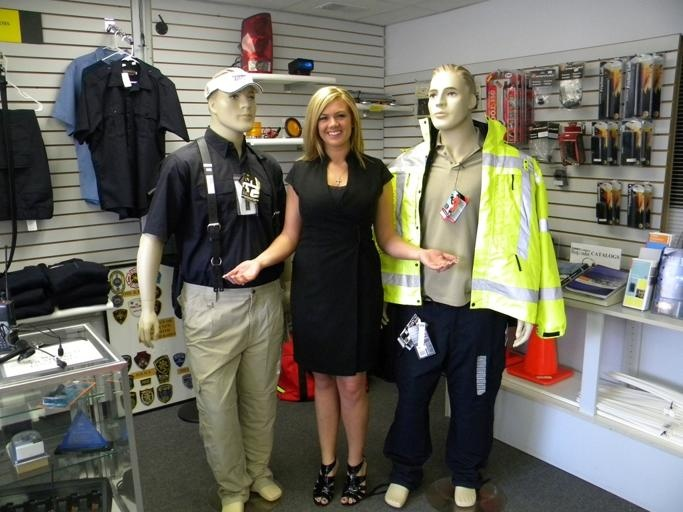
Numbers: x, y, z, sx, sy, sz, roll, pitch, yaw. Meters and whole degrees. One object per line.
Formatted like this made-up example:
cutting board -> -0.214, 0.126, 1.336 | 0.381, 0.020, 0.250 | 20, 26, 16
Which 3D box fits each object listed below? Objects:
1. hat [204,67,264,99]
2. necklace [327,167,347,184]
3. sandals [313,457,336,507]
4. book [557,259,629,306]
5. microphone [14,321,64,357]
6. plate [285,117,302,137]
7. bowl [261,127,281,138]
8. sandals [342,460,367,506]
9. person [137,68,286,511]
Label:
hat -> -0.625, -0.937, 2.712 | 0.178, 0.105, 0.248 | -14, 17, -43
necklace -> -0.026, -0.439, 2.725 | 0.082, 0.084, 0.021 | 1, -10, 6
sandals -> -0.108, 1.391, 3.026 | 0.092, 0.117, 0.287 | -2, 5, 7
book -> 1.632, 0.184, 3.198 | 0.298, 0.073, 0.260 | -27, 24, -27
microphone -> -1.428, 0.371, 2.351 | 0.177, 0.047, 0.173 | 6, 11, -8
plate -> -0.447, -1.161, 4.504 | 0.037, 0.170, 0.164 | 5, 10, 40
bowl -> -0.645, -1.127, 4.520 | 0.130, 0.072, 0.179 | -6, 16, -20
sandals -> 0.084, 1.379, 3.047 | 0.099, 0.119, 0.296 | -6, 0, 9
person -> -0.682, 0.244, 2.804 | 0.856, 2.486, 0.524 | -5, 13, -15
